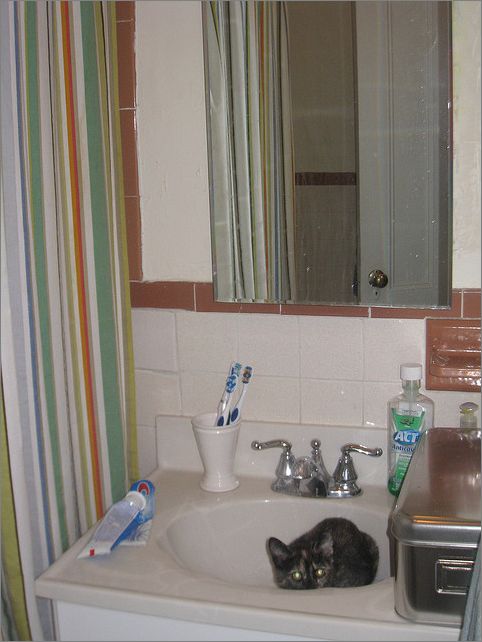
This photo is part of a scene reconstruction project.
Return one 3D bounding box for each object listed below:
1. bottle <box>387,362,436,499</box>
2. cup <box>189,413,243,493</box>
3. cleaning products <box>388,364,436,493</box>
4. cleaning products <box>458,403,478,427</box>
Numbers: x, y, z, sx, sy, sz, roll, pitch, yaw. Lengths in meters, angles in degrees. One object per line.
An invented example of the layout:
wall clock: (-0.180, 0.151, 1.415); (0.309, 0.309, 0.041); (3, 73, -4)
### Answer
bottle: (0.274, 0.166, 1.102); (0.072, 0.242, 0.100); (3, 14, 19)
cup: (-0.040, 0.238, 1.218); (0.091, 0.158, 0.098); (-1, 5, 0)
cleaning products: (0.272, 0.166, 1.084); (0.070, 0.240, 0.098); (3, 13, 19)
cleaning products: (0.367, 0.151, 1.065); (0.027, 0.063, 0.021); (-6, 1, 1)
